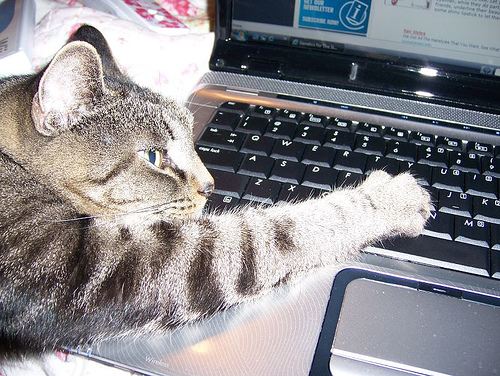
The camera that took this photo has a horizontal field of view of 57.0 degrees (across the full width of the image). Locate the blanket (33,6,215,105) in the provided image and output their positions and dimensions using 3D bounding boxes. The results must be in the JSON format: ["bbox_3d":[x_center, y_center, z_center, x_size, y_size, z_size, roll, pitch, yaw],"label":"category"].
[{"bbox_3d":[-0.308,-0.353,1.146,0.486,0.127,0.300,7,38,5],"label":"blanket"}]
